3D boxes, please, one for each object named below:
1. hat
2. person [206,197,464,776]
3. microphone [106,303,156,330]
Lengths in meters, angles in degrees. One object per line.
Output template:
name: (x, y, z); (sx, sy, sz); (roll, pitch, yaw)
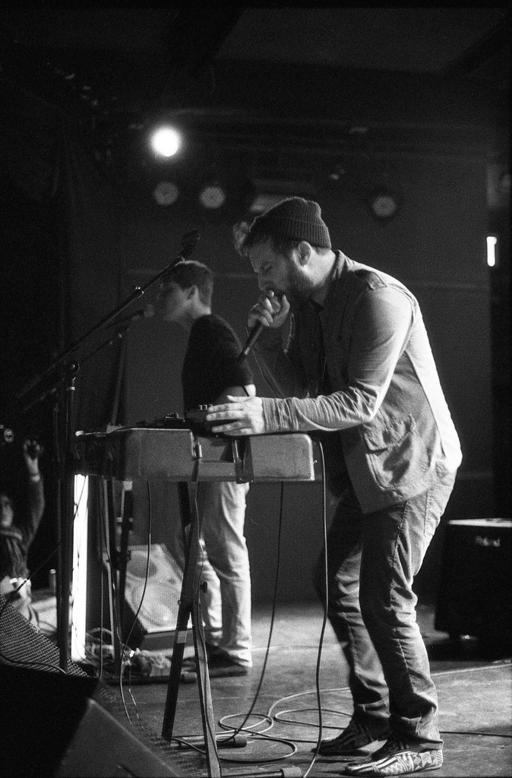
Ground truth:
hat: (0.065, -0.401, 2.130); (0.204, 0.132, 0.210); (-4, -1, -5)
person: (0.211, 0.203, 2.007); (0.524, 1.347, 0.545); (0, -2, 12)
microphone: (-0.401, -0.244, 2.798); (0.170, 0.053, 0.058); (-27, -7, -4)
